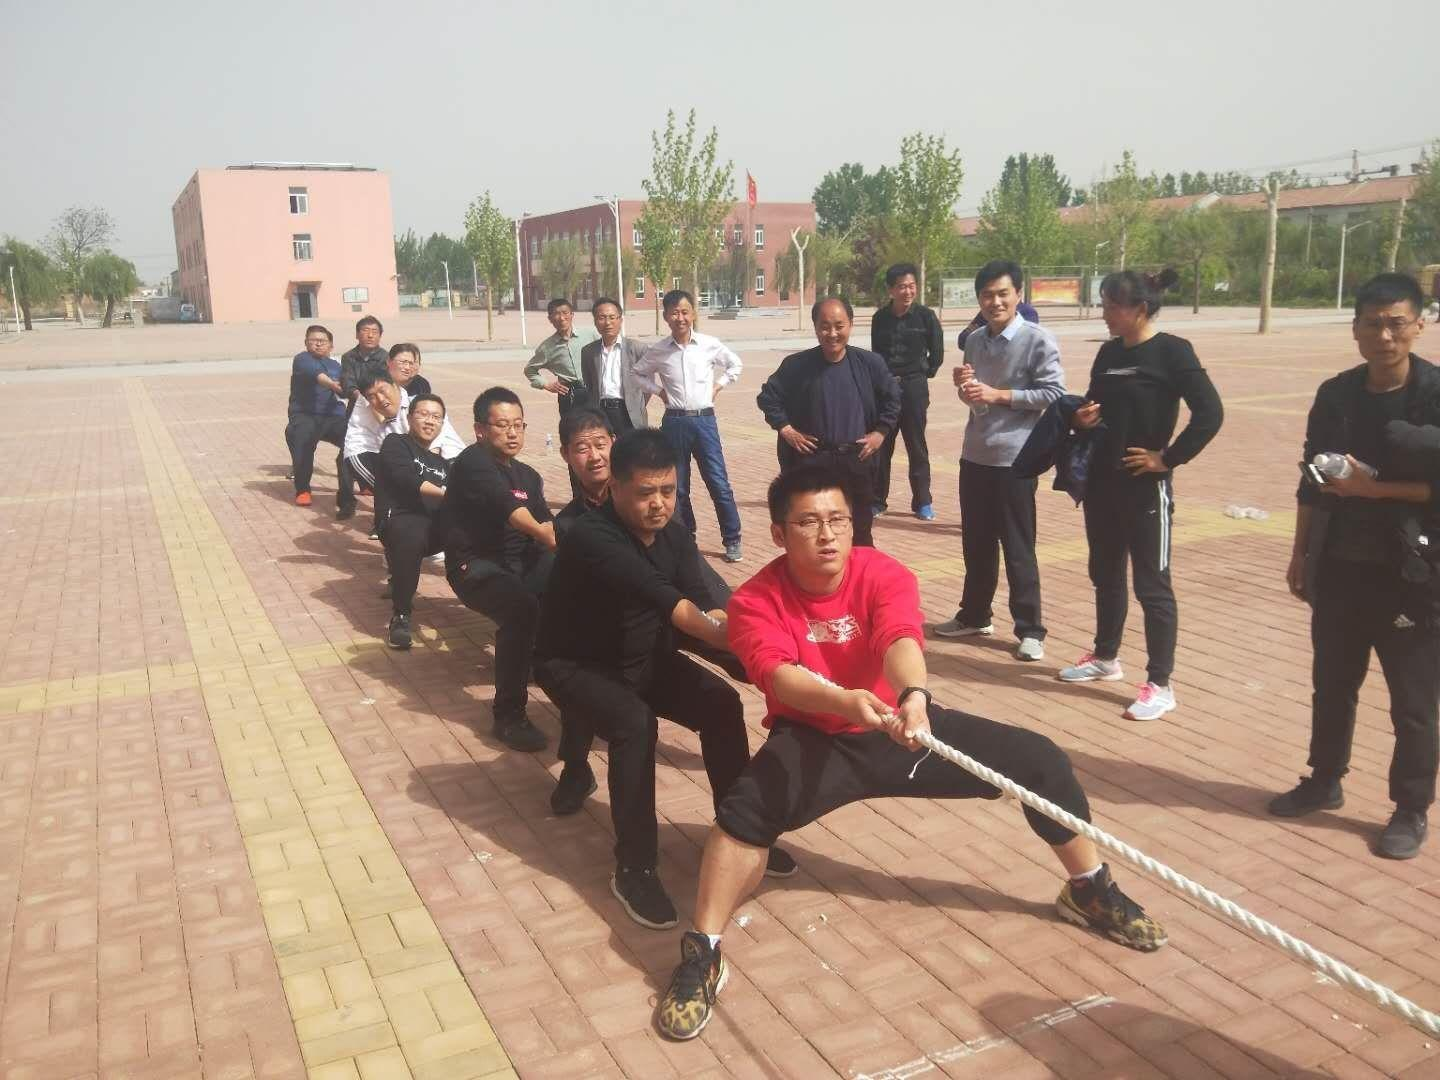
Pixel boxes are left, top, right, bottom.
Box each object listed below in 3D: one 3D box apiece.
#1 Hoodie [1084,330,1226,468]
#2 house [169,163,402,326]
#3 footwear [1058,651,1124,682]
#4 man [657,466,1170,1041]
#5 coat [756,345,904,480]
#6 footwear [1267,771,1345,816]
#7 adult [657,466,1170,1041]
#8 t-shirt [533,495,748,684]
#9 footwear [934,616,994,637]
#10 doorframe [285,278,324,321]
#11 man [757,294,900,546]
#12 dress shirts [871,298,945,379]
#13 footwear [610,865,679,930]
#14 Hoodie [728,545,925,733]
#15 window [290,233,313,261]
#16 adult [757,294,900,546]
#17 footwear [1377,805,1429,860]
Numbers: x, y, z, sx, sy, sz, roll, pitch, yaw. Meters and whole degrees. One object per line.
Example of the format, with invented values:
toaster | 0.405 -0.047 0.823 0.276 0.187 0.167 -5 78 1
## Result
Hoodie | 2.295 -0.745 5.426 0.406 0.814 0.819 -10 17 -28
house | -29.448 -20.594 68.468 11.473 10.202 4.253 -4 14 -11
footwear | 2.161 0.753 5.872 0.408 0.184 0.164 0 -3 3
man | 0.553 0.664 3.583 1.788 1.771 1.239 -6 8 -6
coat | 0.761 -0.971 7.308 1.304 1.140 0.741 0 7 6
footwear | 2.581 1.146 4.486 0.366 0.238 0.149 -5 4 12
adult | 0.567 0.641 3.581 1.801 1.789 1.202 -5 8 -3
t-shirt | -0.398 0.126 4.502 0.881 0.823 0.667 12 13 32
footwear | 1.588 0.599 6.572 0.393 0.165 0.148 5 1 -2
doorframe | -29.819 -16.945 69.633 2.698 3.345 2.731 -2 5 -11
man | 0.828 -0.672 7.280 0.968 2.190 0.624 -4 30 3
dress shirts | 1.949 -2.085 10.382 0.778 0.835 0.499 8 13 35
footwear | -0.297 1.385 3.879 0.126 0.123 0.304 -2 18 -39
Hoodie | 0.415 0.369 3.862 0.607 0.665 0.710 -21 9 6
window | -29.181 -20.415 68.713 1.873 2.496 0.255 -2 -4 -23
adult | 0.832 -0.681 7.295 0.963 2.186 0.612 -5 32 2
footwear | 2.852 1.214 4.145 0.317 0.134 0.116 -9 7 -44
